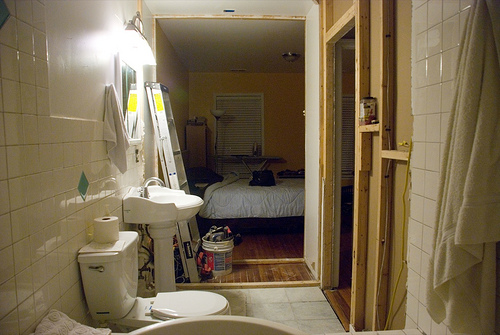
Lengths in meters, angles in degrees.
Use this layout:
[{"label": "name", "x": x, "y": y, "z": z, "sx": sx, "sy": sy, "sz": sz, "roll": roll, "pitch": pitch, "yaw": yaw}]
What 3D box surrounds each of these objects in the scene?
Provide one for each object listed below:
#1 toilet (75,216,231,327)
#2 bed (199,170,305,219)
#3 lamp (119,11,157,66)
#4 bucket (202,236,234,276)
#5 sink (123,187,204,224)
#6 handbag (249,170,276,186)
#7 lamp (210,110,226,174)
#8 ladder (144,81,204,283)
[{"label": "toilet", "x": -0.679, "y": 0.715, "z": 2.965, "sx": 1.038, "sy": 0.971, "sz": 0.606, "roll": -1, "pitch": 4, "yaw": -11}, {"label": "bed", "x": 0.088, "y": 0.449, "z": 5.711, "sx": 1.446, "sy": 0.424, "sz": 1.285, "roll": -1, "pitch": 8, "yaw": 7}, {"label": "lamp", "x": -1.004, "y": -1.169, "z": 3.366, "sx": 0.249, "sy": 0.406, "sz": 0.609, "roll": -3, "pitch": 8, "yaw": -9}, {"label": "bucket", "x": -0.367, "y": 1.026, "z": 4.362, "sx": 0.407, "sy": 0.419, "sz": 0.414, "roll": -1, "pitch": -3, "yaw": 0}, {"label": "sink", "x": -0.812, "y": 0.354, "z": 3.597, "sx": 0.704, "sy": 0.336, "sz": 0.797, "roll": -2, "pitch": 5, "yaw": -14}, {"label": "handbag", "x": 0.193, "y": 0.167, "z": 5.776, "sx": 0.412, "sy": 0.212, "sz": 0.285, "roll": -1, "pitch": 8, "yaw": 3}, {"label": "lamp", "x": -0.608, "y": -0.514, "z": 7.510, "sx": 0.293, "sy": 1.258, "sz": 0.408, "roll": -2, "pitch": 8, "yaw": -3}, {"label": "ladder", "x": -0.824, "y": 0.118, "z": 4.202, "sx": 0.539, "sy": 2.170, "sz": 0.807, "roll": -3, "pitch": 8, "yaw": -7}]
